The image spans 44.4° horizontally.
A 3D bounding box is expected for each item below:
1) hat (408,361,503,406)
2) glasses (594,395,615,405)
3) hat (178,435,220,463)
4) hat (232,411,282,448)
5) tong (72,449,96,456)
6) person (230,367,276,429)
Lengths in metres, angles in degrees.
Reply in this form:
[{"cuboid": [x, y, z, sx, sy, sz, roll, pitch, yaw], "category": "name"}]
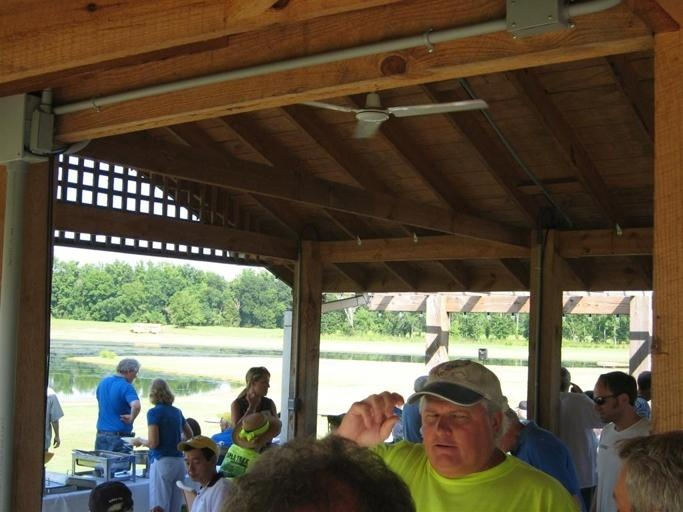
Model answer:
[{"cuboid": [0.554, 0.599, 3.872, 0.314, 0.141, 0.227, 21, -24, -33], "category": "hat"}, {"cuboid": [1.846, 1.014, 5.900, 0.087, 0.024, 0.080, -5, -21, -13], "category": "glasses"}, {"cuboid": [-1.015, 1.355, 6.089, 0.283, 0.138, 0.194, 33, -39, -25], "category": "hat"}, {"cuboid": [-0.652, 1.389, 6.686, 0.359, 0.116, 0.308, -10, 7, -22], "category": "hat"}, {"cuboid": [-2.512, 1.917, 8.193, 0.208, 0.038, 0.743, 4, -12, -16], "category": "tong"}, {"cuboid": [-0.847, 1.500, 8.194, 0.475, 0.772, 0.423, 3, -27, -7], "category": "person"}]
